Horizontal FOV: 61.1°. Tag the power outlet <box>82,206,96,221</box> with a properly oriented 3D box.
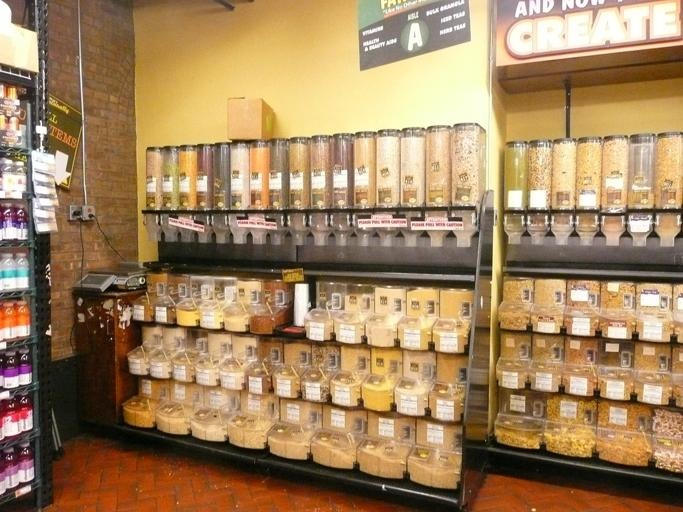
[{"bbox_3d":[-2.262,-0.381,5.175,0.067,0.124,0.126,-2,-4,17],"label":"power outlet"}]

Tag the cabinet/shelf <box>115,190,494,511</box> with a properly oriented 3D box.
[{"bbox_3d":[-0.190,0.750,4.305,2.183,1.524,0.809,1,1,20],"label":"cabinet/shelf"}]

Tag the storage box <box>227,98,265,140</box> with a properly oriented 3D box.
[{"bbox_3d":[-0.759,-1.093,4.790,0.282,0.373,0.527,0,2,3],"label":"storage box"}]

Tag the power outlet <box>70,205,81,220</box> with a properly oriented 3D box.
[{"bbox_3d":[-2.347,-0.380,5.103,0.063,0.127,0.123,3,3,31],"label":"power outlet"}]

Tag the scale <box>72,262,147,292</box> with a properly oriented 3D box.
[{"bbox_3d":[-1.899,0.190,4.955,0.356,0.144,0.340,0,2,28],"label":"scale"}]
